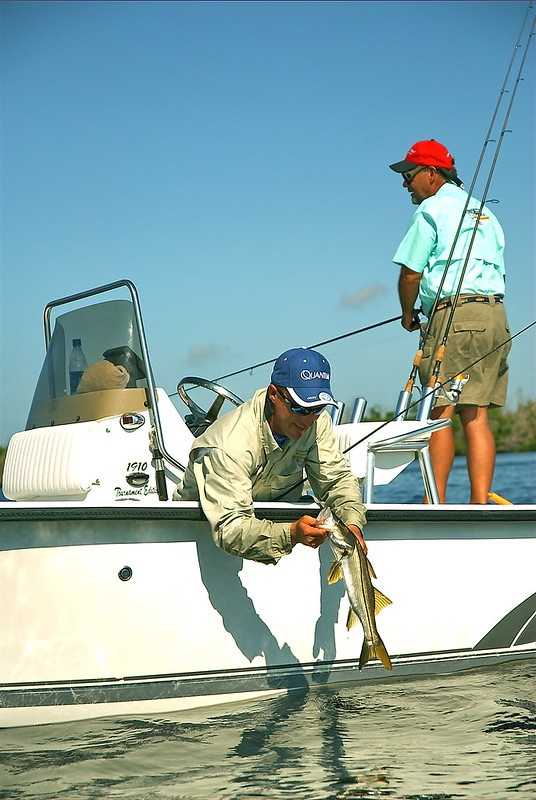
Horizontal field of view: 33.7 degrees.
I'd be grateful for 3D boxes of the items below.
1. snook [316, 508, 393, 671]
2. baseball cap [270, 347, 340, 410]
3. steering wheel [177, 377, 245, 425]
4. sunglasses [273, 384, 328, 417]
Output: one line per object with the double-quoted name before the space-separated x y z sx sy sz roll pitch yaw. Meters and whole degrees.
"snook" 0.294 0.615 2.811 0.234 0.527 0.465 0 -1 -5
"baseball cap" 0.142 -0.093 3.052 0.211 0.154 0.297 -2 26 -22
"steering wheel" -0.317 -0.008 4.289 0.321 0.120 0.308 24 -21 10
"sunglasses" 0.104 0.007 3.015 0.100 0.118 0.033 -2 -42 -53
